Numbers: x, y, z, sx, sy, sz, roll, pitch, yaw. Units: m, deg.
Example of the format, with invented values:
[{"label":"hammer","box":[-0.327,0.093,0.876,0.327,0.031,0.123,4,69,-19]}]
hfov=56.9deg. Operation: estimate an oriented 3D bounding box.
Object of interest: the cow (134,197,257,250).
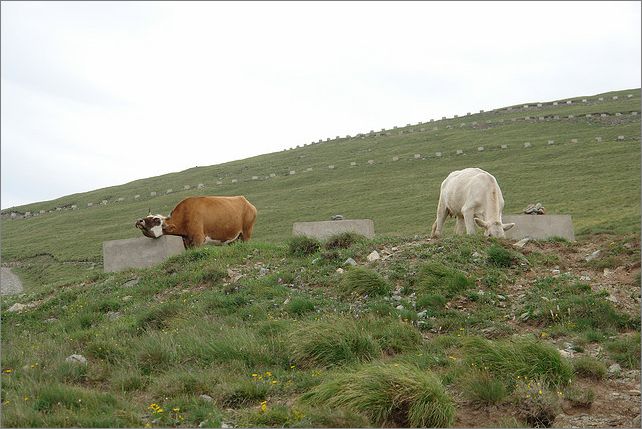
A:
[{"label":"cow","box":[-5.092,0.329,25.902,4.891,2.326,1.755,1,-5,-40]}]
